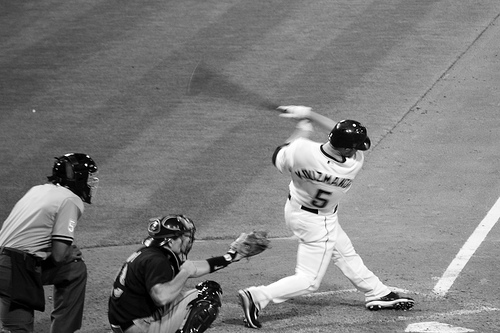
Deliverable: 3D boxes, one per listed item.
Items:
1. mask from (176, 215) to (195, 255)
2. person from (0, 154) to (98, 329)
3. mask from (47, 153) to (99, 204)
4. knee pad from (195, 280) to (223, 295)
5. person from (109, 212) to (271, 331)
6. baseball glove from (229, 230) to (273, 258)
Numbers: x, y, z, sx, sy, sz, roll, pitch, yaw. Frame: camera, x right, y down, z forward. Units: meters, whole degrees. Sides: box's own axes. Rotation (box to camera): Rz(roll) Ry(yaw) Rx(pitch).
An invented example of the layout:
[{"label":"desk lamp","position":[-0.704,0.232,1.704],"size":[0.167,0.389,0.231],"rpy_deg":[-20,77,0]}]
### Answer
[{"label":"mask","position":[-0.874,0.906,12.309],"size":[0.252,0.563,0.391],"rpy_deg":[5,23,-4]},{"label":"person","position":[-2.683,0.999,12.372],"size":[1.147,2.176,1.291],"rpy_deg":[4,24,-6]},{"label":"mask","position":[-2.359,0.164,12.499],"size":[0.635,0.618,0.382],"rpy_deg":[1,24,-12]},{"label":"knee pad","position":[-0.553,1.585,12.504],"size":[0.345,0.164,0.229],"rpy_deg":[4,21,-1]},{"label":"person","position":[-0.935,1.396,12.234],"size":[1.731,1.457,0.776],"rpy_deg":[3,24,-7]},{"label":"baseball glove","position":[0.009,1.054,12.519],"size":[0.432,0.308,0.310],"rpy_deg":[-14,29,-41]}]
